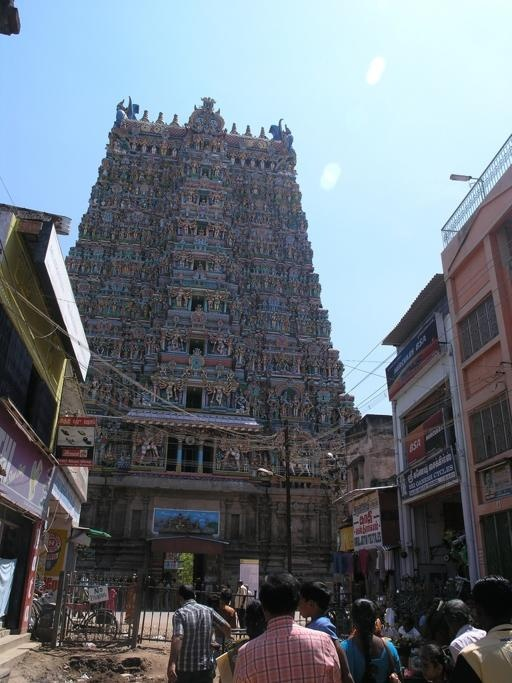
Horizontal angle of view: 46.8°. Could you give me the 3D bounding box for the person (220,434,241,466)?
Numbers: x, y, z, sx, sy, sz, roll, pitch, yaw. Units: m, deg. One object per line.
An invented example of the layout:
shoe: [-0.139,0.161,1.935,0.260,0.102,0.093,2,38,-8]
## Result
person: [-1.403,6.181,32.351,1.146,1.765,0.694,2,-29,-3]
